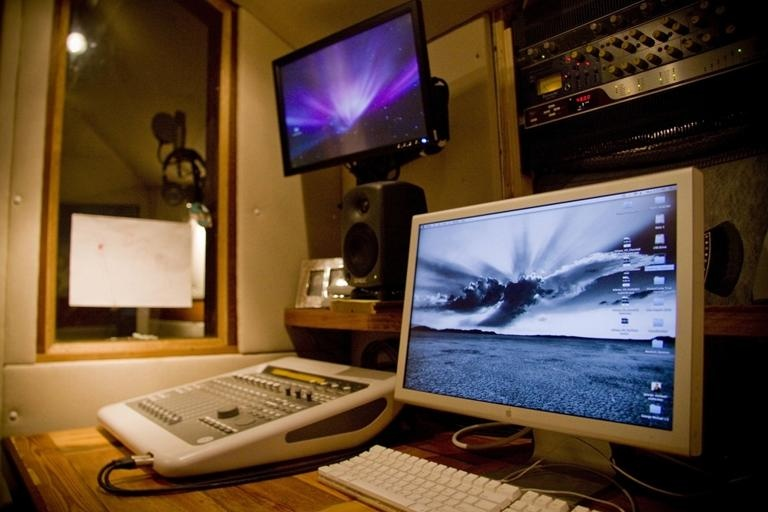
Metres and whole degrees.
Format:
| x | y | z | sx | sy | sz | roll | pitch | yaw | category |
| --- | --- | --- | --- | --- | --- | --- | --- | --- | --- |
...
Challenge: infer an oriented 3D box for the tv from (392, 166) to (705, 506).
| x | y | z | sx | sy | sz | roll | pitch | yaw | category |
| --- | --- | --- | --- | --- | --- | --- | --- | --- | --- |
| 0.414 | 0.227 | 1.427 | 0.845 | 0.598 | 0.113 | 2 | -11 | 35 | tv |

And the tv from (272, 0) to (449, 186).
| x | y | z | sx | sy | sz | roll | pitch | yaw | category |
| --- | --- | --- | --- | --- | --- | --- | --- | --- | --- |
| -0.065 | -0.579 | 2.033 | 0.641 | 0.423 | 0.348 | -7 | 7 | 41 | tv |
